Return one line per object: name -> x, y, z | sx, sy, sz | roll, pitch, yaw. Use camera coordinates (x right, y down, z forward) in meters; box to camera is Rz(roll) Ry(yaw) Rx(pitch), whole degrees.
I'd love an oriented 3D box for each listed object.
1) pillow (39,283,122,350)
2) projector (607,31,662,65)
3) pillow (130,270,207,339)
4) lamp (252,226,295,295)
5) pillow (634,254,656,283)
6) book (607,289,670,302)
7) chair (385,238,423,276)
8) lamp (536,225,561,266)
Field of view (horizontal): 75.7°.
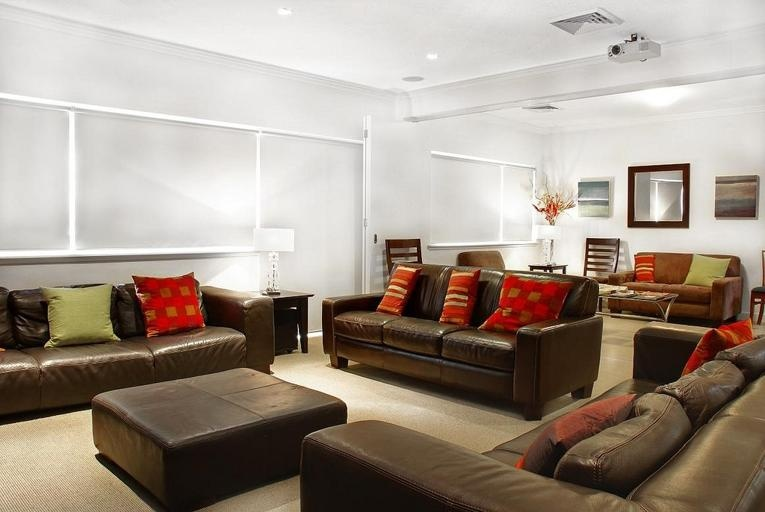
pillow -> -2.538, 0.470, 4.296 | 0.833, 0.711, 0.423 | 0, -4, -30
projector -> 2.490, -1.969, 4.852 | 0.290, 0.233, 0.389 | -2, 2, -39
pillow -> -1.943, 0.429, 4.492 | 0.180, 0.555, 0.600 | -30, -14, 36
lamp -> -1.255, 0.041, 5.571 | 0.418, 0.708, 0.601 | -1, 5, -18
pillow -> 4.208, 0.209, 7.865 | 0.379, 0.453, 0.183 | -10, -29, 40
book -> 3.300, 0.520, 6.292 | 0.760, 0.105, 0.485 | -2, 5, -28
chair -> 0.355, 0.016, 6.906 | 0.514, 0.695, 0.502 | 1, -2, -26
lamp -> 3.001, -0.191, 8.850 | 0.521, 0.711, 0.507 | 5, -8, -11
